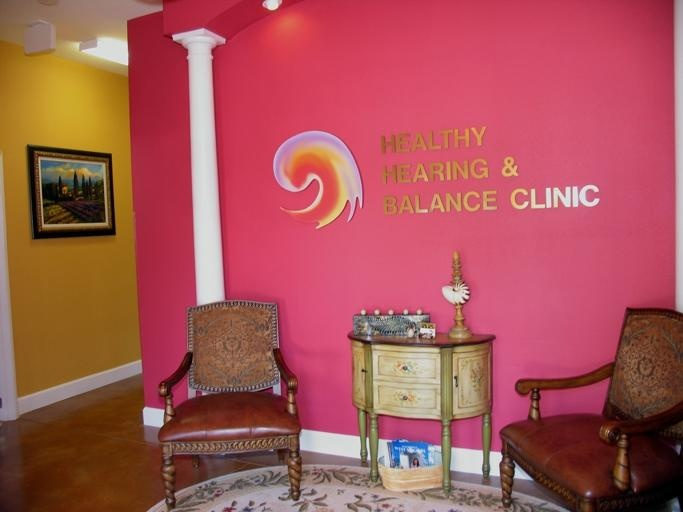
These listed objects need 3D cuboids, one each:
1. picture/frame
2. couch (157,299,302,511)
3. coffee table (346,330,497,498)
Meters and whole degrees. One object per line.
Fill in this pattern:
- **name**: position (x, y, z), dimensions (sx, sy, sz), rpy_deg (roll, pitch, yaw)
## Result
- **picture/frame**: position (-2.923, -0.688, 6.517), dimensions (0.074, 1.097, 1.032), rpy_deg (0, 3, 36)
- **couch**: position (-0.796, 1.090, 4.903), dimensions (1.252, 1.852, 1.291), rpy_deg (-1, 0, -3)
- **coffee table**: position (0.574, 1.128, 4.471), dimensions (1.021, 1.066, 0.361), rpy_deg (0, 12, 12)
